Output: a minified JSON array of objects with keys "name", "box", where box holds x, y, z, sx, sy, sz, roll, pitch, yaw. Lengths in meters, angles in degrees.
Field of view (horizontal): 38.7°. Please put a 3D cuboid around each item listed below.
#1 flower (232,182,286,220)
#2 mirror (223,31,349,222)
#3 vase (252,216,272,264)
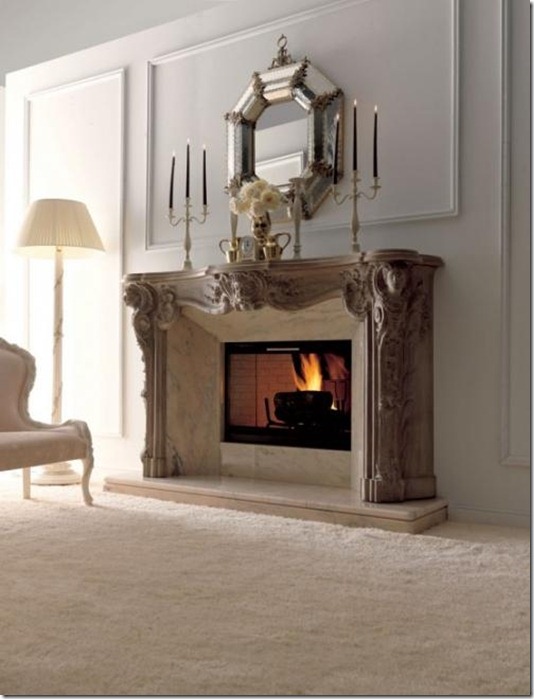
[{"name":"flower","box":[-0.030,-0.688,3.518,0.222,0.183,0.146,1,1,34]},{"name":"mirror","box":[0.082,-1.088,3.750,0.663,0.924,0.168,1,2,38]},{"name":"vase","box":[-0.015,-0.516,3.553,0.081,0.215,0.063,0,1,1]}]
